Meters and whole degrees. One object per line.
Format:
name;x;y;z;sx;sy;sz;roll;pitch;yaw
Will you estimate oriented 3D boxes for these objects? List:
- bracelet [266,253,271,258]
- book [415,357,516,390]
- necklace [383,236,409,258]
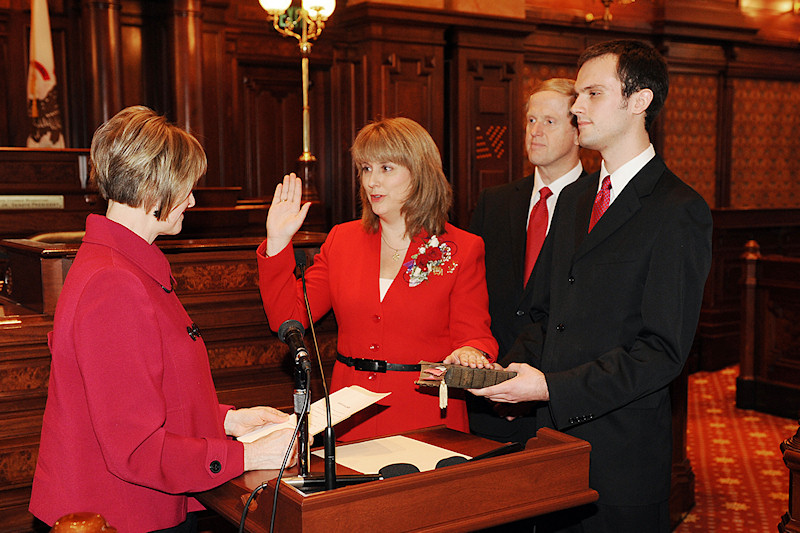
bracelet;-0.545;-0.045;2.510;0.012;0.017;0.009;-2;4;6
book;0.235;0.359;2.073;0.391;0.110;0.091;-5;7;-28
necklace;-0.017;-0.080;2.656;0.086;0.085;0.026;-5;-12;1
